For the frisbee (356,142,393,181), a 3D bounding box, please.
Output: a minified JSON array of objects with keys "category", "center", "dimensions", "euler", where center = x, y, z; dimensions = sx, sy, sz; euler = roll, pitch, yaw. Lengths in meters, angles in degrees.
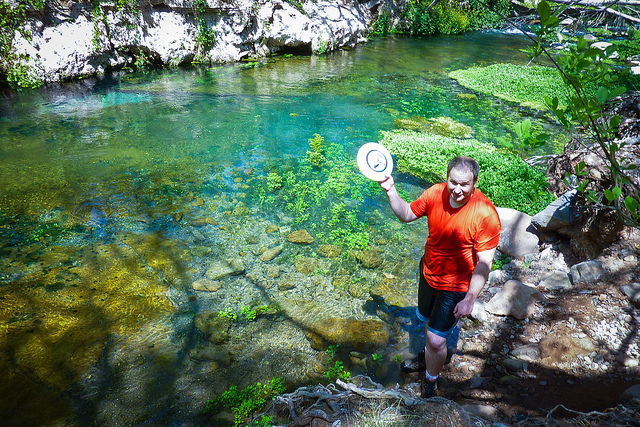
[{"category":"frisbee","center":[0.902,-0.855,6.278],"dimensions":[0.544,0.567,0.461],"euler":[-2,26,5]}]
